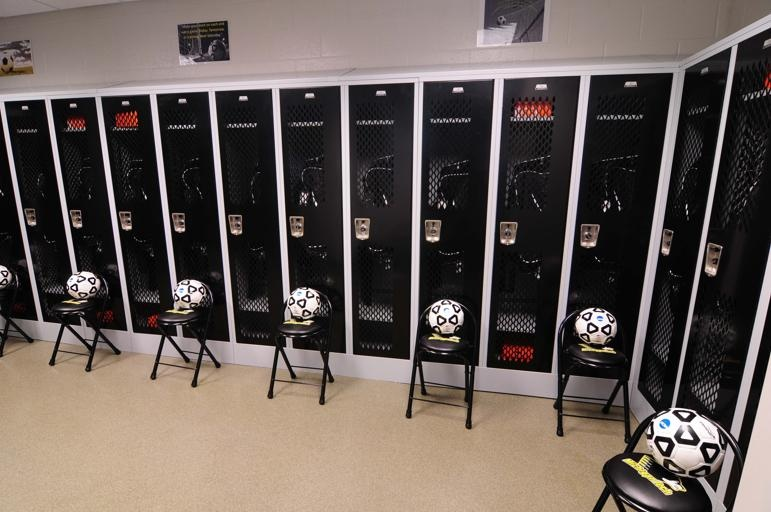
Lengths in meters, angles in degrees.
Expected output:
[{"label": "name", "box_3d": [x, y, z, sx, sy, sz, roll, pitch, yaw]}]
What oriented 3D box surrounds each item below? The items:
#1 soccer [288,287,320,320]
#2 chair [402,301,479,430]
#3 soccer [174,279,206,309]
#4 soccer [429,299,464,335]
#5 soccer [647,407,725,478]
[{"label": "soccer", "box_3d": [-0.799, 0.438, 5.115, 0.312, 0.360, 0.300, 7, 5, 42]}, {"label": "chair", "box_3d": [0.533, 0.966, 4.874, 0.649, 1.047, 0.574, 4, 14, 11]}, {"label": "soccer", "box_3d": [-2.012, 0.368, 5.319, 0.305, 0.353, 0.300, -3, 8, -25]}, {"label": "soccer", "box_3d": [0.576, 0.530, 4.956, 0.301, 0.351, 0.315, 7, 16, 25]}, {"label": "soccer", "box_3d": [2.136, 1.349, 3.670, 0.339, 0.305, 0.340, -21, 48, -5]}]
